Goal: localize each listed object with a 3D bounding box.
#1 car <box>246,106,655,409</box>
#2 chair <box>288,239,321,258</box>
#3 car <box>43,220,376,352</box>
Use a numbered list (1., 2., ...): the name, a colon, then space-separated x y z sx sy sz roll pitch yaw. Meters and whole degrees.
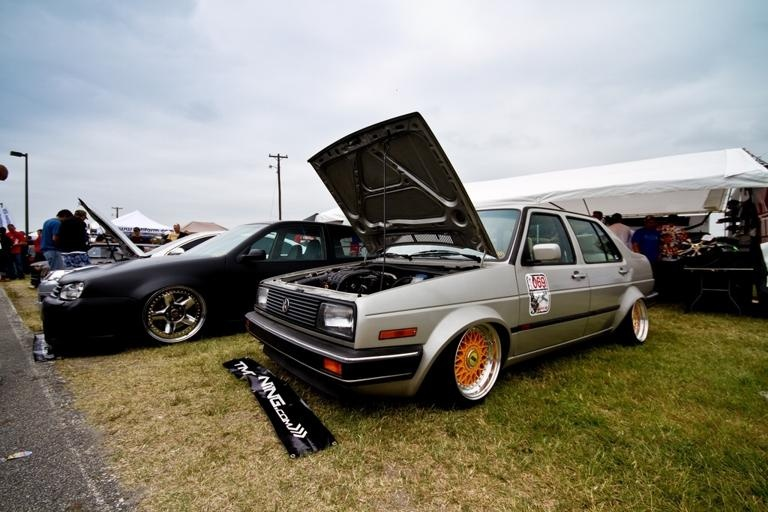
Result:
1. car: 0.973 0.087 4.701 4.364 1.912 2.515 1 -2 -32
2. chair: -1.262 -0.112 6.180 0.430 0.396 0.256 5 -14 -20
3. car: -2.524 0.376 5.905 3.889 1.052 2.170 1 -1 -31
